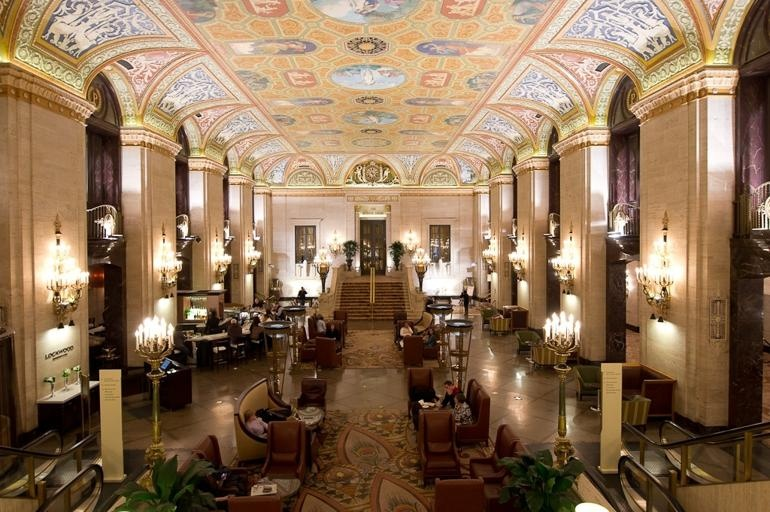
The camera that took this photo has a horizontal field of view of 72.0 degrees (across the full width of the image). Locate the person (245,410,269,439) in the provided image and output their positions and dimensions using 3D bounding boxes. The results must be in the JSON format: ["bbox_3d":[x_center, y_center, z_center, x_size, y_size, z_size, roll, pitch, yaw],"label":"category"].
[{"bbox_3d":[-2.854,3.666,11.702,0.465,0.551,0.702,0,-3,-12],"label":"person"}]
